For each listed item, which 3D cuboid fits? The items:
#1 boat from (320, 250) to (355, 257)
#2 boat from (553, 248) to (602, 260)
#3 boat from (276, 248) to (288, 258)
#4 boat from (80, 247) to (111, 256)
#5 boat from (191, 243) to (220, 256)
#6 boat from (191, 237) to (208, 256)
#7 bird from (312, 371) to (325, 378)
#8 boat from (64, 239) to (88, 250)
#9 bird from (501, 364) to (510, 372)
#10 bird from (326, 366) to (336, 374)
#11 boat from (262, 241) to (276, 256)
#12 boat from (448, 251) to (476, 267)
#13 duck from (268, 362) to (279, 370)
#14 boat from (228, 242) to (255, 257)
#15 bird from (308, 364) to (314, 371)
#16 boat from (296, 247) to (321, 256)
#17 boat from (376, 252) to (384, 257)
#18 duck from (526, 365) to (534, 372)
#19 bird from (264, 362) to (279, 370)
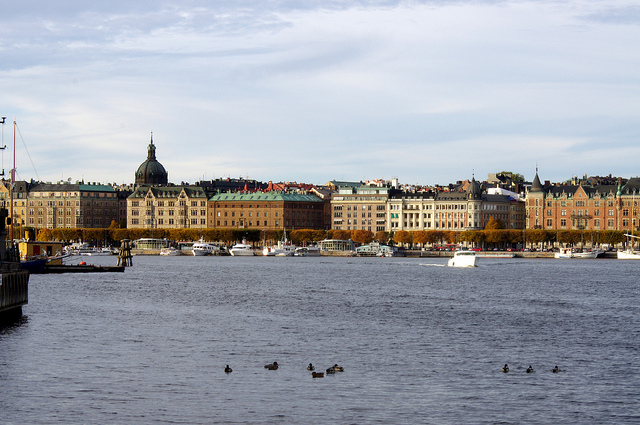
[{"bbox_3d":[2.191,5.378,191.346,4.777,0.907,0.944,-3,-4,31],"label":"boat"},{"bbox_3d":[30.624,5.073,171.612,5.553,1.103,1.706,0,2,3],"label":"boat"},{"bbox_3d":[-5.194,5.346,189.941,1.028,0.894,2.418,-4,-4,33],"label":"boat"},{"bbox_3d":[-28.920,5.148,189.230,0.856,0.508,4.435,-1,3,-37],"label":"boat"},{"bbox_3d":[-15.625,4.921,191.617,1.540,1.715,5.138,-3,-3,19],"label":"boat"},{"bbox_3d":[-15.994,4.916,190.501,1.913,1.622,2.556,-2,-3,-1],"label":"boat"},{"bbox_3d":[-0.140,7.657,67.925,0.540,0.225,0.387,-2,-3,6],"label":"bird"},{"bbox_3d":[-31.990,4.218,189.754,1.653,0.890,2.377,0,-3,-36],"label":"boat"},{"bbox_3d":[8.919,7.495,69.133,0.202,0.277,0.496,7,-12,8],"label":"bird"},{"bbox_3d":[0.495,7.522,68.534,0.364,0.272,0.551,-2,-3,8],"label":"bird"},{"bbox_3d":[-7.013,4.912,194.144,1.584,1.885,4.919,-1,-6,-3],"label":"boat"},{"bbox_3d":[14.275,4.618,143.495,0.996,1.426,3.019,1,-4,-42],"label":"boat"},{"bbox_3d":[-2.296,7.383,69.351,0.429,0.255,0.284,-7,8,-18],"label":"duck"},{"bbox_3d":[-10.498,5.048,189.891,2.937,1.773,4.035,-2,-3,12],"label":"boat"},{"bbox_3d":[-0.483,7.425,68.956,0.233,0.190,0.226,3,2,37],"label":"bird"},{"bbox_3d":[-1.657,5.189,190.948,2.886,1.035,2.116,-2,-3,2],"label":"boat"},{"bbox_3d":[7.528,5.471,185.581,0.962,0.583,0.484,-1,10,1],"label":"boat"},{"bbox_3d":[10.024,7.539,69.136,0.353,0.240,0.621,-2,-3,8],"label":"duck"},{"bbox_3d":[-2.399,7.395,69.327,0.464,0.262,0.301,-3,7,-4],"label":"bird"}]
